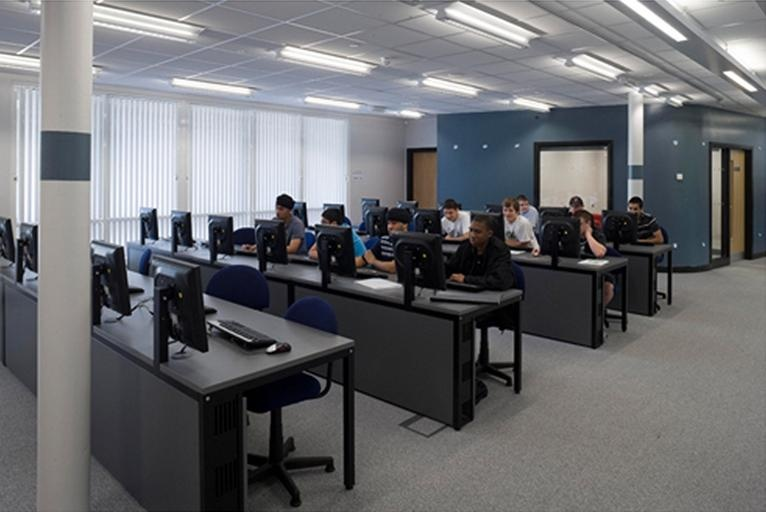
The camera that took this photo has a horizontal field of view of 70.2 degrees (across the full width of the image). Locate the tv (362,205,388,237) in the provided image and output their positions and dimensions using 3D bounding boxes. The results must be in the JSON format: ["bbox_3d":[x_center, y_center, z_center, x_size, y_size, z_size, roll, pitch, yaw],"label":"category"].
[{"bbox_3d":[-0.142,-0.559,8.868,0.217,0.603,0.589,-8,11,-42],"label":"tv"}]

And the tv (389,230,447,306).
[{"bbox_3d":[0.307,0.127,4.873,0.547,0.833,0.297,9,20,36],"label":"tv"}]

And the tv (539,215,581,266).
[{"bbox_3d":[2.082,-0.169,6.354,0.494,0.605,0.198,6,14,32],"label":"tv"}]

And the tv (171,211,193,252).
[{"bbox_3d":[-2.686,-0.316,7.176,0.160,0.523,0.510,-8,11,-42],"label":"tv"}]

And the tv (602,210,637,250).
[{"bbox_3d":[3.283,-0.355,7.513,0.456,0.538,0.179,6,17,31],"label":"tv"}]

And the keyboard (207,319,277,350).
[{"bbox_3d":[-1.064,0.571,4.073,0.690,0.120,0.223,5,12,42],"label":"keyboard"}]

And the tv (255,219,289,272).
[{"bbox_3d":[-1.249,-0.108,6.005,0.512,0.527,0.174,6,13,35],"label":"tv"}]

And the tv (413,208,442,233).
[{"bbox_3d":[0.649,-0.517,8.025,0.435,0.408,0.154,7,11,41],"label":"tv"}]

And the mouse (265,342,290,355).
[{"bbox_3d":[-0.746,0.645,3.839,0.112,0.041,0.084,-7,7,-32],"label":"mouse"}]

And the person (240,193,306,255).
[{"bbox_3d":[-1.649,-0.477,7.848,0.444,1.067,1.134,-3,0,-41],"label":"person"}]

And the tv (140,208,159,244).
[{"bbox_3d":[-3.301,-0.411,7.594,0.148,0.474,0.463,-9,12,-41],"label":"tv"}]

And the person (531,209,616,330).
[{"bbox_3d":[2.289,0.210,6.504,0.822,1.539,0.820,9,-29,-13],"label":"person"}]

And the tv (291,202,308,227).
[{"bbox_3d":[-1.400,-0.690,8.963,0.194,0.540,0.558,-5,8,-19],"label":"tv"}]

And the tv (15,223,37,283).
[{"bbox_3d":[-3.558,-0.027,5.379,0.166,0.561,0.547,-4,6,-39],"label":"tv"}]

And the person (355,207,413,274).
[{"bbox_3d":[0.022,-0.176,6.099,0.739,0.790,0.554,2,-1,-38],"label":"person"}]

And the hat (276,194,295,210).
[{"bbox_3d":[-1.237,-0.675,6.734,0.185,0.167,0.232,6,5,25],"label":"hat"}]

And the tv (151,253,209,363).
[{"bbox_3d":[-1.444,0.366,3.746,0.289,0.655,0.584,-10,11,-44],"label":"tv"}]

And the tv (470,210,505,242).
[{"bbox_3d":[1.271,-0.359,6.342,0.500,0.381,0.698,0,4,-1],"label":"tv"}]

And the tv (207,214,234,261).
[{"bbox_3d":[-1.985,-0.215,6.578,0.162,0.502,0.490,-9,13,-42],"label":"tv"}]

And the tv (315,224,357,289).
[{"bbox_3d":[-0.477,0.014,5.383,0.548,0.624,0.215,9,16,40],"label":"tv"}]
